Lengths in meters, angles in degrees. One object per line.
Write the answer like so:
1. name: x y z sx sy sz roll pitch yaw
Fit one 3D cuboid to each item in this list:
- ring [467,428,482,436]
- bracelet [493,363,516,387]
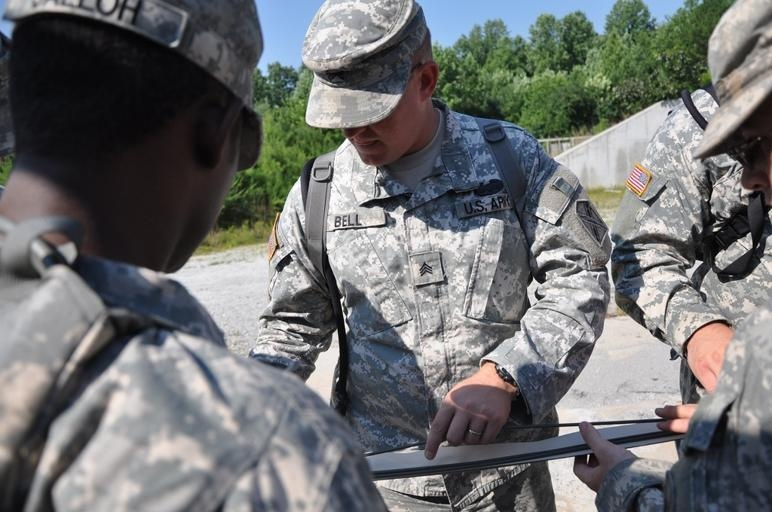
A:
1. ring: 0.315 0.627 2.452 0.045 0.020 0.015 4 3 -16
2. bracelet: 0.437 0.440 2.531 0.079 0.031 0.058 51 -5 -35
